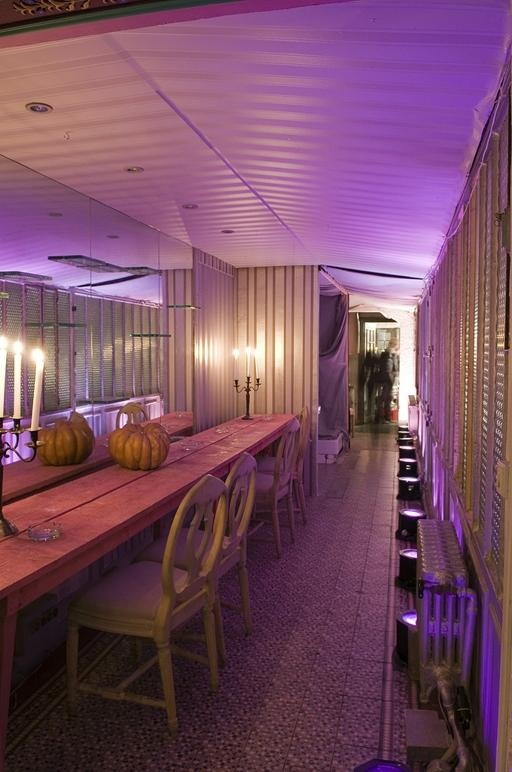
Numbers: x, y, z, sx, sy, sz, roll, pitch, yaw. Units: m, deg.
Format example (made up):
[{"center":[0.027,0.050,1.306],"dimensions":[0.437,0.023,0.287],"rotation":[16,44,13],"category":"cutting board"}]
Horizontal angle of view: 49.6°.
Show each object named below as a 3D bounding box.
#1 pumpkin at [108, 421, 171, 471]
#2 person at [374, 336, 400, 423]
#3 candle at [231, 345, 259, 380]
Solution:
[{"center":[-0.596,0.297,2.857],"dimensions":[0.233,0.266,0.250],"rotation":[2,3,18],"category":"pumpkin"},{"center":[2.625,-0.044,11.223],"dimensions":[0.428,1.629,0.688],"rotation":[1,2,12],"category":"person"},{"center":[-0.131,-0.229,5.387],"dimensions":[0.296,0.315,0.074],"rotation":[2,-4,30],"category":"candle"}]
